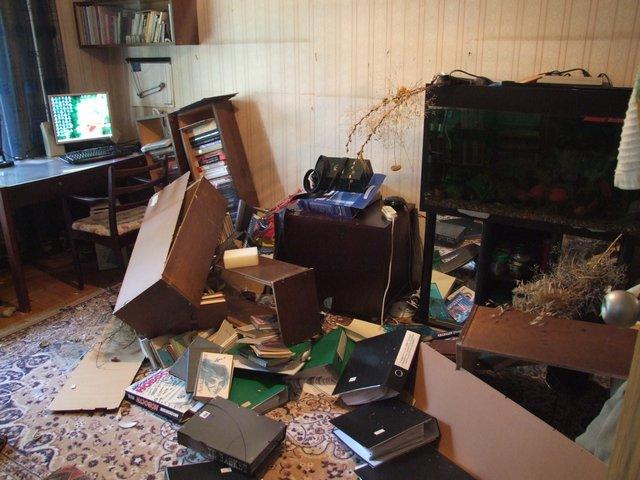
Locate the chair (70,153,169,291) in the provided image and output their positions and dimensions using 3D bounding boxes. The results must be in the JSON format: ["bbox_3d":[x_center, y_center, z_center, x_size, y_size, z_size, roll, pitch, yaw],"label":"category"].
[{"bbox_3d":[-1.406,-0.116,3.645,0.617,0.799,0.618,-2,-3,-44],"label":"chair"}]

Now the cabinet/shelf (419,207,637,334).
[{"bbox_3d":[1.223,0.171,2.941,0.529,0.915,0.700,15,21,42],"label":"cabinet/shelf"}]

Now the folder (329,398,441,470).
[{"bbox_3d":[0.346,0.908,2.295,0.440,0.090,0.469,-12,5,-3],"label":"folder"}]

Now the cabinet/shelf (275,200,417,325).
[{"bbox_3d":[0.237,-0.046,3.270,0.849,0.630,0.862,10,29,26],"label":"cabinet/shelf"}]

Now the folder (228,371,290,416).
[{"bbox_3d":[-0.348,0.816,2.523,0.207,0.049,0.195,15,22,31],"label":"folder"}]

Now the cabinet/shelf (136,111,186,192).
[{"bbox_3d":[-1.402,-0.822,4.116,0.358,0.523,0.349,-17,22,-25],"label":"cabinet/shelf"}]

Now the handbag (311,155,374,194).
[{"bbox_3d":[0.145,-0.466,3.247,0.350,0.141,0.251,6,63,12],"label":"handbag"}]

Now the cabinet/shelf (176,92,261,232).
[{"bbox_3d":[-0.880,-0.644,3.915,0.422,0.933,0.289,-19,-2,17],"label":"cabinet/shelf"}]

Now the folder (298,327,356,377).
[{"bbox_3d":[0.037,0.655,2.674,0.233,0.057,0.241,-28,12,13],"label":"folder"}]
